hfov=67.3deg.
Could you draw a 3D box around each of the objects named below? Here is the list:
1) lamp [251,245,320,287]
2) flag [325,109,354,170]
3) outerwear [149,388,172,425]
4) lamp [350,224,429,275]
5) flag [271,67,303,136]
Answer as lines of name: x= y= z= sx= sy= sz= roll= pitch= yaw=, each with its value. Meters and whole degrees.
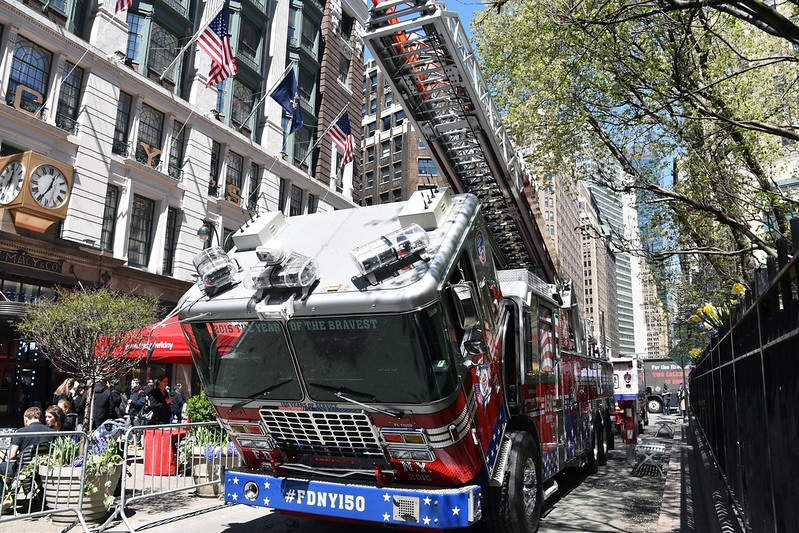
lamp: x=-1.872 y=0.077 z=9.611 sx=0.816 sy=0.649 sz=0.533 roll=-3 pitch=-9 yaw=2
flag: x=-2.761 y=-6.266 z=28.777 sx=1.572 sy=0.333 sz=3.831 roll=18 pitch=-34 yaw=6
outerwear: x=-6.807 y=3.952 z=16.937 sx=0.597 sy=1.015 sz=1.217 roll=5 pitch=-18 yaw=-22
lamp: x=-0.145 y=-0.247 z=9.216 sx=1.200 sy=0.557 sz=0.650 roll=-25 pitch=3 yaw=-12
flag: x=-4.957 y=-7.559 z=26.845 sx=1.587 sy=0.349 sz=3.479 roll=15 pitch=-39 yaw=0
